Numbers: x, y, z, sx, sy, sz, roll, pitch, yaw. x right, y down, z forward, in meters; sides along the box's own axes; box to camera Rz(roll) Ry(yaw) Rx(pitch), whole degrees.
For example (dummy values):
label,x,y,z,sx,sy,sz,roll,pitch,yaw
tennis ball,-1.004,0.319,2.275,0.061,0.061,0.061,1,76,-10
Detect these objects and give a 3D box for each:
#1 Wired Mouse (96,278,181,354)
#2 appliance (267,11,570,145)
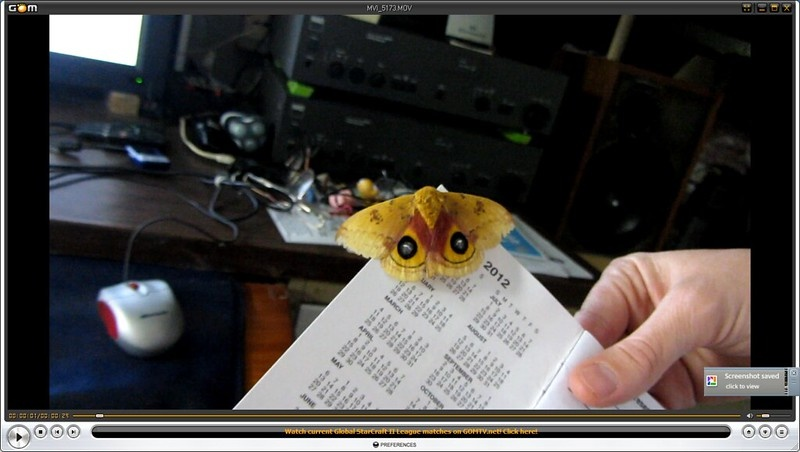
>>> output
label,x,y,z,sx,sy,sz,roll,pitch,yaw
Wired Mouse,-0.466,0.164,1.003,0.122,0.115,0.107,27,25,32
appliance,0.008,-0.257,1.404,0.526,0.141,0.686,12,-7,-5
